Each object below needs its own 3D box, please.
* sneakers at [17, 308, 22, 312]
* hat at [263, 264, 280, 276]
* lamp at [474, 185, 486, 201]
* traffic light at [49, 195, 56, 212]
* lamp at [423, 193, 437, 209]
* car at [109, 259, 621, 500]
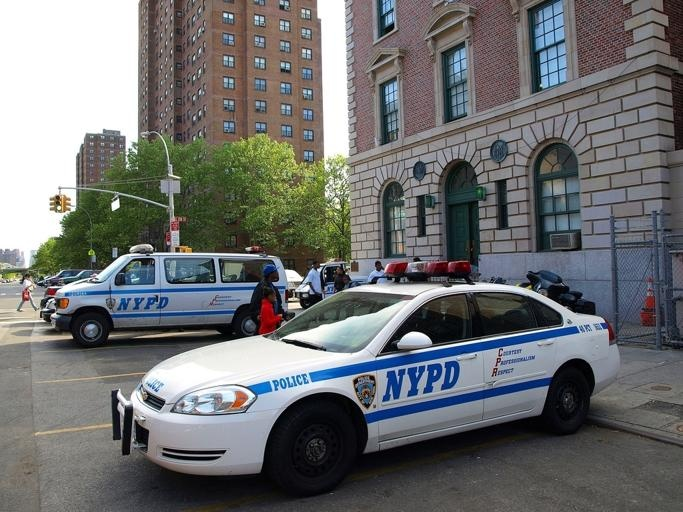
[{"bbox_3d":[-14.559,2.412,27.952,0.212,0.221,0.150,0,3,-7],"label":"sneakers"},{"bbox_3d":[-1.325,0.247,11.225,0.263,0.142,0.214,-20,3,13],"label":"hat"},{"bbox_3d":[4.524,-2.056,20.096,0.300,0.476,0.276,-1,7,-1],"label":"lamp"},{"bbox_3d":[-13.992,-2.580,30.080,0.340,0.783,0.941,-4,7,-23],"label":"traffic light"},{"bbox_3d":[3.191,-1.929,22.210,0.411,0.761,0.559,2,-1,-21],"label":"lamp"},{"bbox_3d":[0.457,1.416,8.171,5.758,2.188,2.590,0,-3,-27],"label":"car"}]
